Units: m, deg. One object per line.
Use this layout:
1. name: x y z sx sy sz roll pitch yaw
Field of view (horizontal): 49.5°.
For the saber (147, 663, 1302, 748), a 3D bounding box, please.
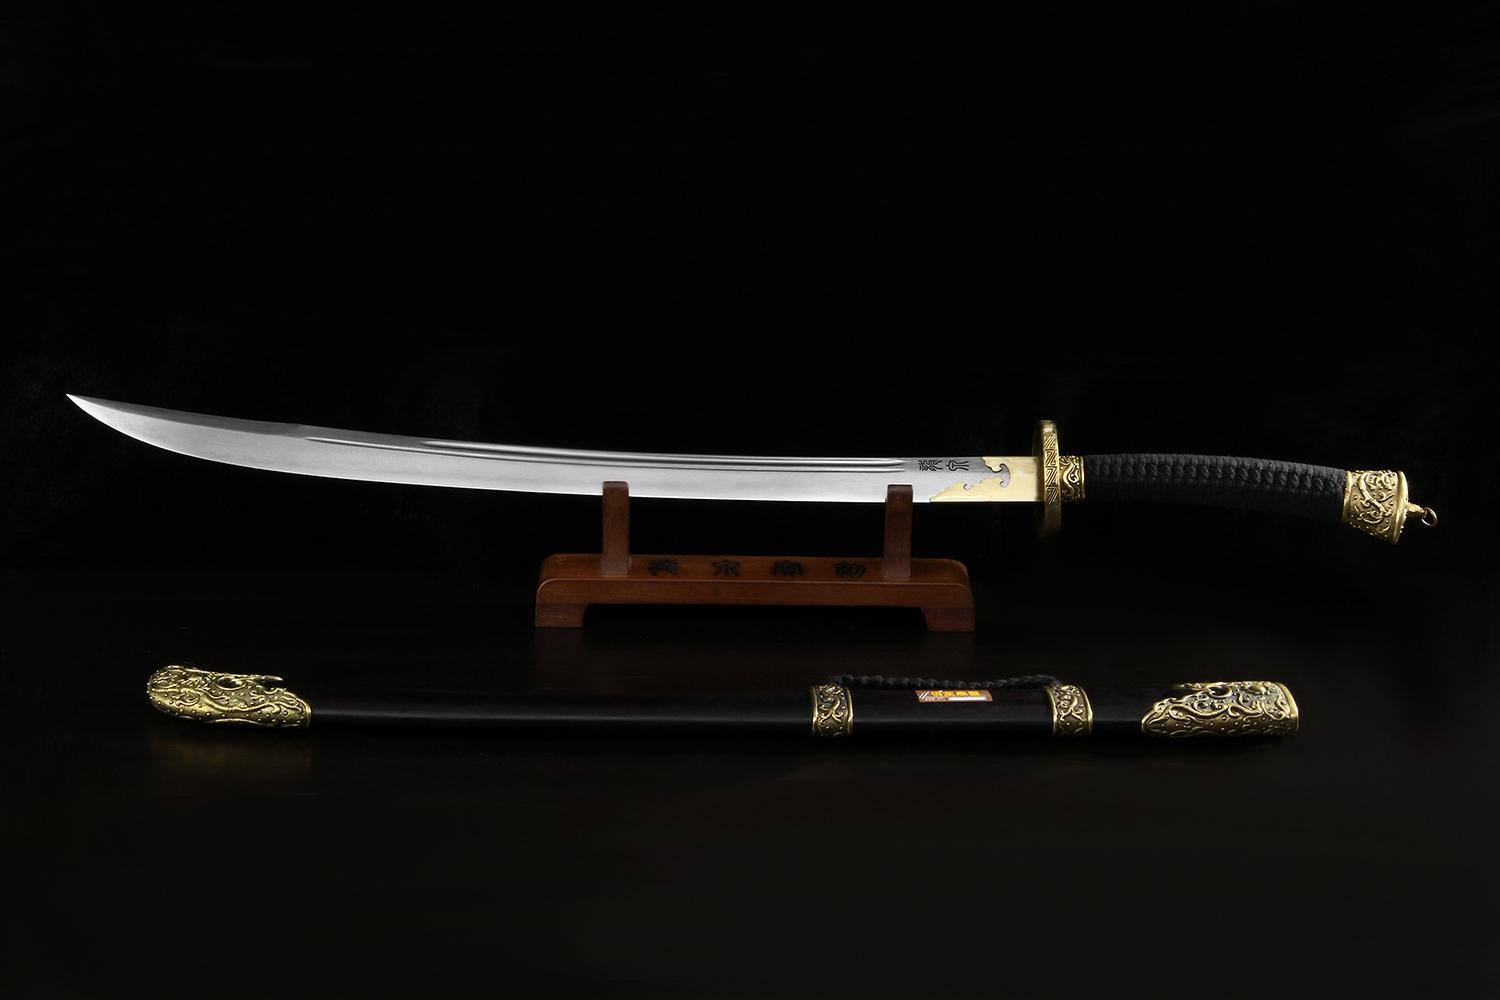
1. saber: -0.040 0.476 3.804 2.613 0.180 0.067 2 -19 1
